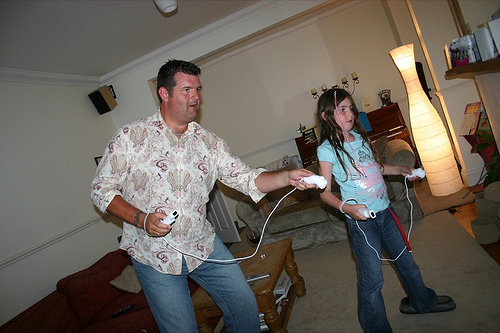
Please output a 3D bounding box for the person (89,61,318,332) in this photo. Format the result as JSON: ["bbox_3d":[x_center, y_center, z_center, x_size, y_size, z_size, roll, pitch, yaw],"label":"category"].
[{"bbox_3d":[-0.435,0.299,2.236,1.133,1.668,0.511,-25,13,-28],"label":"person"}]

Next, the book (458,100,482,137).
[{"bbox_3d":[2.992,-0.636,4.123,0.318,0.465,0.521,-10,15,35],"label":"book"}]

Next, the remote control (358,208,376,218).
[{"bbox_3d":[0.829,0.326,2.143,0.049,0.044,0.144,-63,10,0],"label":"remote control"}]

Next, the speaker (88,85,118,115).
[{"bbox_3d":[-2.283,-1.051,4.711,0.261,0.415,0.402,-35,32,-20],"label":"speaker"}]

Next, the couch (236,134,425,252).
[{"bbox_3d":[0.955,0.357,3.454,1.786,0.877,0.854,-29,-1,16],"label":"couch"}]

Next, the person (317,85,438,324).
[{"bbox_3d":[0.948,0.371,2.463,0.581,2.043,0.780,-6,17,46],"label":"person"}]

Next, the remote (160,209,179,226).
[{"bbox_3d":[-0.529,0.347,1.979,0.069,0.035,0.118,20,55,16],"label":"remote"}]

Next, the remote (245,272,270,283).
[{"bbox_3d":[0.081,1.093,2.983,0.179,0.020,0.104,-15,-4,11],"label":"remote"}]

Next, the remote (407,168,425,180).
[{"bbox_3d":[1.331,0.054,2.426,0.049,0.051,0.118,11,-14,-30],"label":"remote"}]
